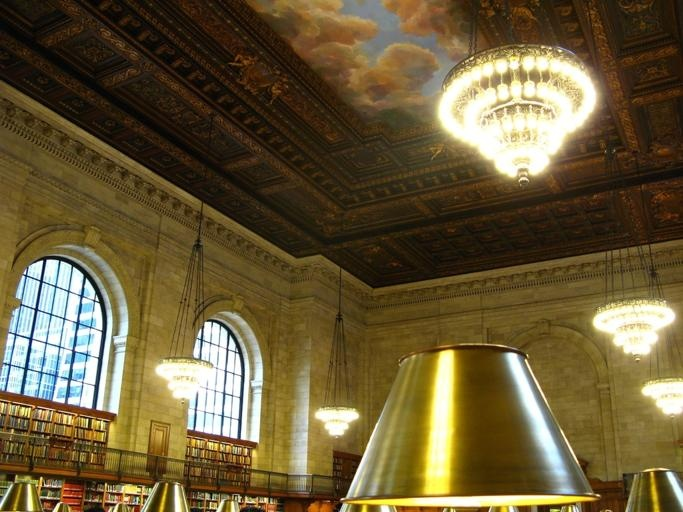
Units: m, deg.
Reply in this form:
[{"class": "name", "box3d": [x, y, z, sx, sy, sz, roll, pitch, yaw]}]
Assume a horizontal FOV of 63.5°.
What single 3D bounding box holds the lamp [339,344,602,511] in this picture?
[{"class": "lamp", "box3d": [0.341, 0.360, 1.302, 0.462, 0.226, 0.465, -14, -22, 40]}]
